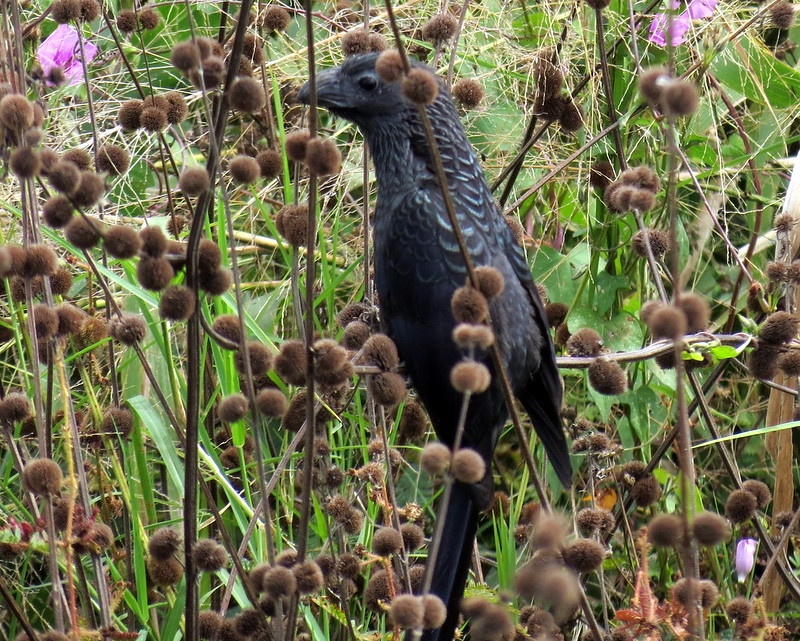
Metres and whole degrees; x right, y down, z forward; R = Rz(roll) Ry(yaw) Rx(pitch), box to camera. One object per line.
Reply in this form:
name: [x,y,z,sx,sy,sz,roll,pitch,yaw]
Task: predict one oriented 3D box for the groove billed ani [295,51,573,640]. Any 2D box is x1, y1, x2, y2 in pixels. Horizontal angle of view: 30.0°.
groove billed ani: [0.137,-0.030,4.981,0.888,1.690,0.726,2,8,7]
